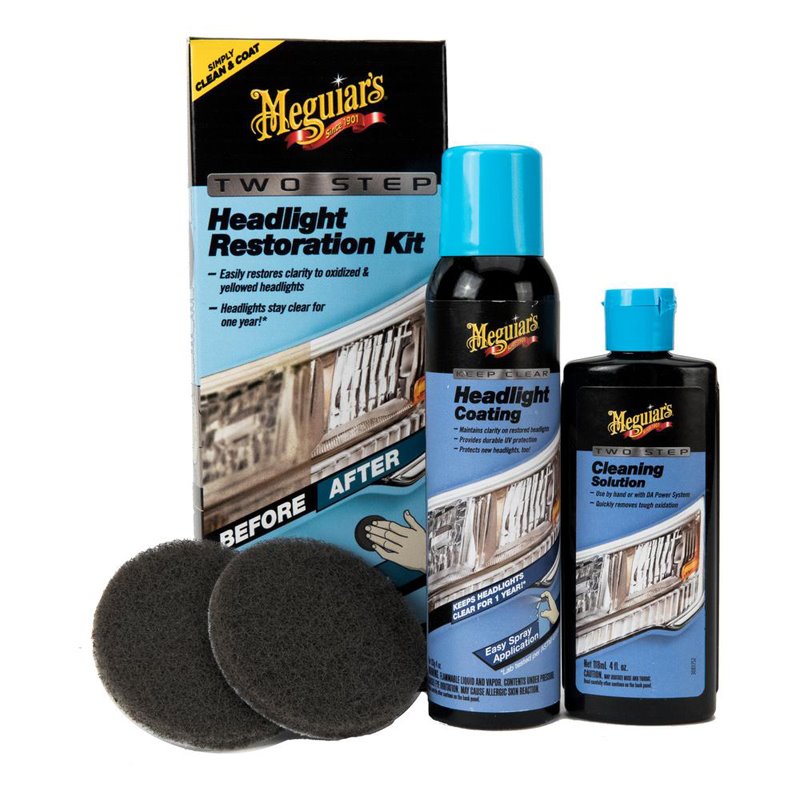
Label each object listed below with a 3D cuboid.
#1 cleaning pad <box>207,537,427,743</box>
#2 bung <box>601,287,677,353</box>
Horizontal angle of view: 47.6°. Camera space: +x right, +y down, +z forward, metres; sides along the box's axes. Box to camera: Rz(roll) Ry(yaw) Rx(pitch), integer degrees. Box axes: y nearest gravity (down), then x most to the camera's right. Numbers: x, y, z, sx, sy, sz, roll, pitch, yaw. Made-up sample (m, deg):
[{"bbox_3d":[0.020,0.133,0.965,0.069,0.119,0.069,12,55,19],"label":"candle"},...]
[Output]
[{"bbox_3d":[-0.094,0.354,1.457,0.387,0.347,0.086,-27,2,36],"label":"cleaning pad"},{"bbox_3d":[0.377,-0.125,1.397,0.124,0.088,0.109,-3,5,-8],"label":"bung"}]
